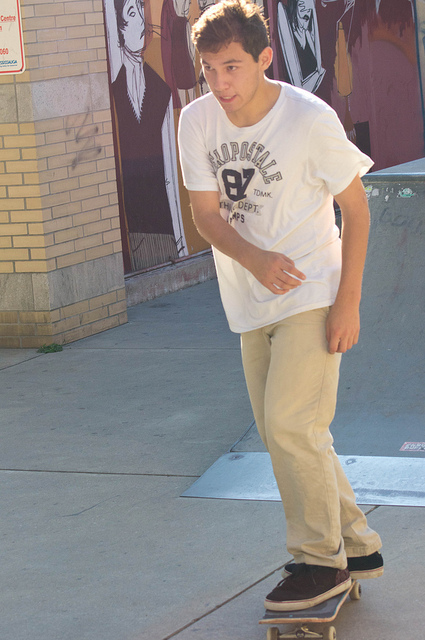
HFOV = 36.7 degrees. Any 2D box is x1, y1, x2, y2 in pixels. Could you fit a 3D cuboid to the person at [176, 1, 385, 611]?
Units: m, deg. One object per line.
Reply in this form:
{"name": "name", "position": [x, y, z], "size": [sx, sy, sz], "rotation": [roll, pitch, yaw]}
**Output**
{"name": "person", "position": [0.233, -0.060, 1.813], "size": [0.496, 1.648, 0.475], "rotation": [-9, 10, -3]}
